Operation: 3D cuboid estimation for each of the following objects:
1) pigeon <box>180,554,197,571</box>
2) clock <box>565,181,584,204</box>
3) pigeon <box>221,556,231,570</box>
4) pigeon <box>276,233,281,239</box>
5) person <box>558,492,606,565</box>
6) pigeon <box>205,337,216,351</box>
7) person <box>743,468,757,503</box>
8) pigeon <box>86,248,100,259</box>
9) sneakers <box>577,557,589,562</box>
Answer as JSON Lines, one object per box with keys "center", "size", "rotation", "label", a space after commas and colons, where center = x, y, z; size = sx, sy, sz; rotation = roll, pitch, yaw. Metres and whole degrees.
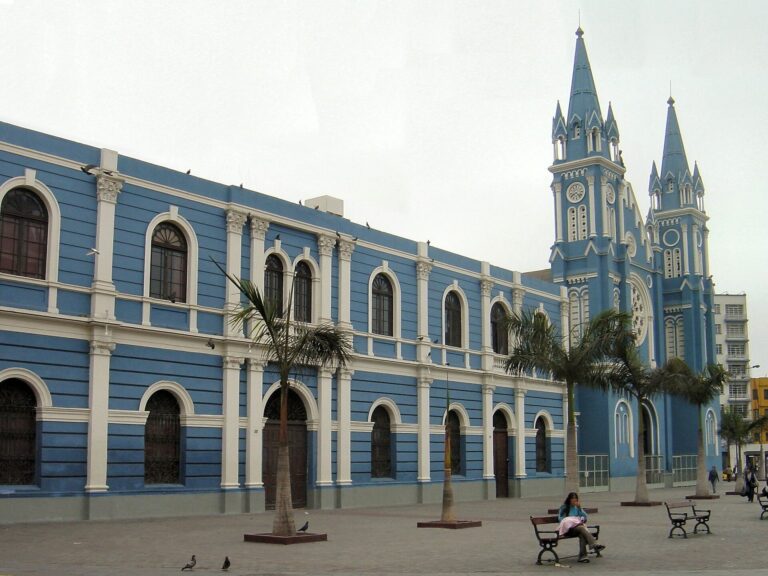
{"center": [-4.674, 6.629, 25.612], "size": [0.329, 0.352, 0.592], "rotation": [1, -16, -13], "label": "pigeon"}
{"center": [10.998, -5.479, 61.676], "size": [0.243, 1.098, 1.024], "rotation": [6, -5, -38], "label": "clock"}
{"center": [-3.772, 6.627, 25.677], "size": [0.169, 0.299, 0.317], "rotation": [-6, 1, 25], "label": "pigeon"}
{"center": [-4.054, -1.943, 41.247], "size": [0.092, 0.310, 0.266], "rotation": [-12, -18, 33], "label": "pigeon"}
{"center": [5.070, 6.284, 28.044], "size": [1.063, 1.834, 1.353], "rotation": [-4, -15, 8], "label": "person"}
{"center": [-6.216, 2.036, 38.550], "size": [0.166, 0.387, 0.496], "rotation": [-11, -17, 30], "label": "pigeon"}
{"center": [16.033, 8.666, 46.960], "size": [0.541, 1.560, 2.043], "rotation": [-6, -16, 17], "label": "person"}
{"center": [-9.701, -1.164, 35.798], "size": [0.259, 0.438, 0.164], "rotation": [-18, -39, 33], "label": "pigeon"}
{"center": [5.070, 6.991, 27.335], "size": [0.299, 0.133, 0.122], "rotation": [3, -5, -43], "label": "sneakers"}
